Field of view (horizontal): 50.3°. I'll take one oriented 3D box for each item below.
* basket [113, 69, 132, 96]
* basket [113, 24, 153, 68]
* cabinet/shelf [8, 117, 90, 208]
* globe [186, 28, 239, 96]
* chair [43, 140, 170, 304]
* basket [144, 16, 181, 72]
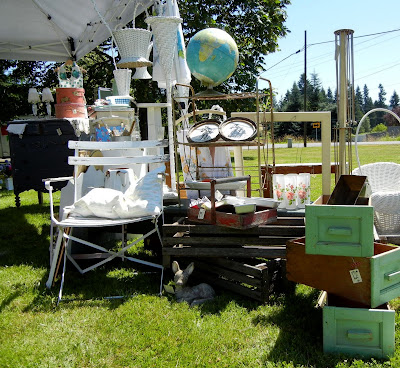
[{"bbox_3d":[-0.953,-1.236,5.187,0.197,0.329,0.411,-3,9,-11],"label":"basket"},{"bbox_3d":[-0.706,-1.429,4.562,0.401,0.412,0.418,-2,9,-5],"label":"basket"},{"bbox_3d":[-1.742,-0.263,5.513,0.947,1.347,0.913,-1,1,0],"label":"cabinet/shelf"},{"bbox_3d":[0.110,-1.074,3.854,0.312,0.587,0.427,4,15,15],"label":"globe"},{"bbox_3d":[-0.737,0.245,3.455,0.912,1.223,0.793,-1,5,-10],"label":"chair"},{"bbox_3d":[-0.353,-1.257,3.914,0.235,0.531,0.241,-4,16,-34],"label":"basket"}]
